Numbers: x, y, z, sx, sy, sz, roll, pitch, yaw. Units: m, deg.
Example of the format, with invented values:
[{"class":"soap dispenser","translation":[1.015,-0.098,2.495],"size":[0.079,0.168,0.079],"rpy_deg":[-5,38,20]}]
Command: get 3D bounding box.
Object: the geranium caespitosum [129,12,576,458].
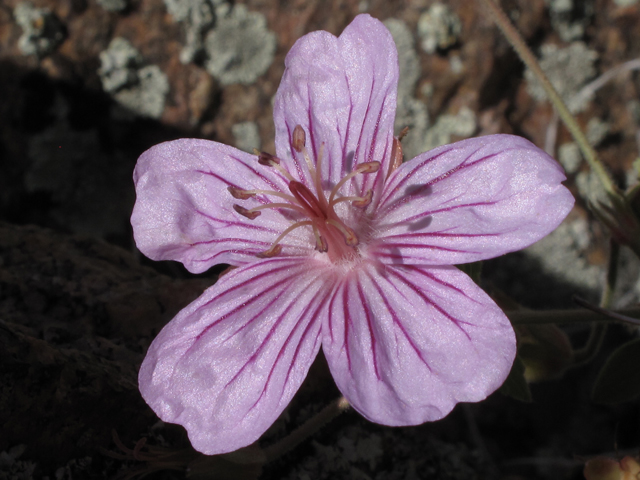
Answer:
[{"class":"geranium caespitosum","translation":[0.007,-0.012,1.567],"size":[0.925,0.329,0.836],"rpy_deg":[-20,84,0]}]
